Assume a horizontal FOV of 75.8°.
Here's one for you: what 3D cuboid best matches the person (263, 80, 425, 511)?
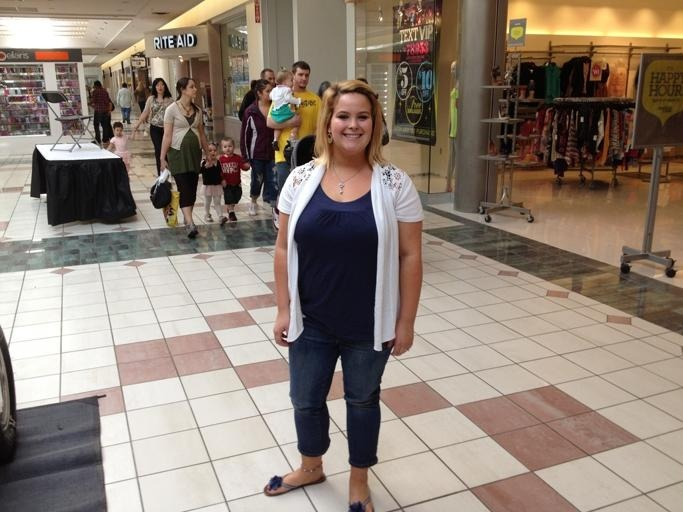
[{"bbox_3d":[0.019,0.115,1.651,0.550,1.461,0.282,1,16,10],"label":"person"}]

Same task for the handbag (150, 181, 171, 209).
[{"bbox_3d":[-2.426,-0.821,5.925,0.186,0.343,0.344,7,31,-34],"label":"handbag"}]

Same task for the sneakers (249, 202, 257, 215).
[{"bbox_3d":[-1.352,-0.722,6.758,0.177,0.217,0.522,1,6,-9],"label":"sneakers"}]

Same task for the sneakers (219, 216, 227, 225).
[{"bbox_3d":[-1.681,-0.507,6.272,0.064,0.136,0.093,7,46,-50],"label":"sneakers"}]

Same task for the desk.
[{"bbox_3d":[-3.931,-1.148,6.710,1.137,0.708,1.917,-5,24,-31],"label":"desk"}]

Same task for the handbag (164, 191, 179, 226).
[{"bbox_3d":[-2.349,-0.664,6.063,0.111,0.356,0.397,3,-21,-23],"label":"handbag"}]

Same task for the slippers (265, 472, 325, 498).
[{"bbox_3d":[-0.206,0.991,1.952,0.257,0.061,0.098,-1,7,-16],"label":"slippers"}]
